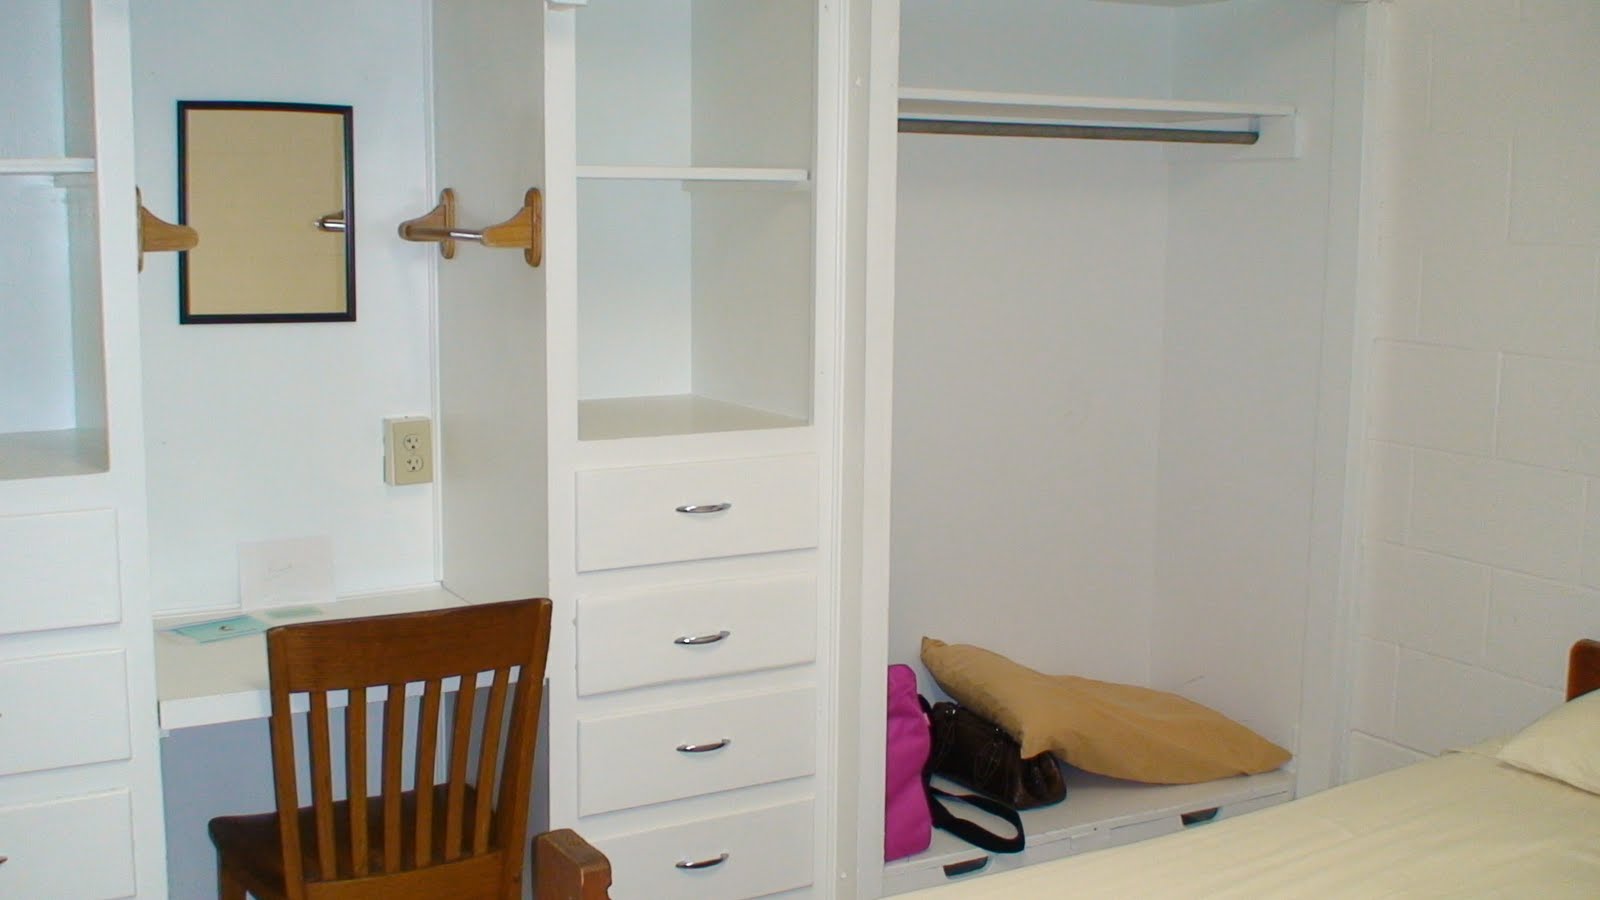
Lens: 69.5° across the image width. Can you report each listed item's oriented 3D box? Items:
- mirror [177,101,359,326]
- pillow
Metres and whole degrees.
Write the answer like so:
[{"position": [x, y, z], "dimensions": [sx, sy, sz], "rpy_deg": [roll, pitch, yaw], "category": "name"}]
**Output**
[{"position": [-1.301, -0.583, 2.839], "dimensions": [0.425, 0.531, 0.020], "rpy_deg": [-9, 21, -44], "category": "mirror"}, {"position": [0.883, 0.718, 3.371], "dimensions": [0.706, 0.500, 0.751], "rpy_deg": [-2, 5, -37], "category": "pillow"}]
